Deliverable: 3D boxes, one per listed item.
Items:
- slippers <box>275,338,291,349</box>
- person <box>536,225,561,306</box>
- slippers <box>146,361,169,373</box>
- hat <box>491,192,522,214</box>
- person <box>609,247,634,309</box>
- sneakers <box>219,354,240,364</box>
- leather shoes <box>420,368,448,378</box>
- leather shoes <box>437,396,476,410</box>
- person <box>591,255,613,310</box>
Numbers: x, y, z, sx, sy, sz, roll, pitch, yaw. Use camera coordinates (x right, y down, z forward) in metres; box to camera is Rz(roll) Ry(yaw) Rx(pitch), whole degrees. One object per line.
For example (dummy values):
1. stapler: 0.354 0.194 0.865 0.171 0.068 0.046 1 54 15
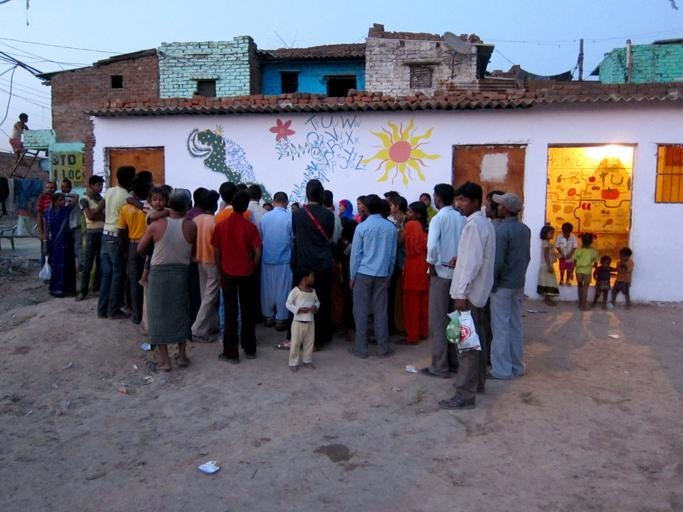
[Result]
1. slippers: -0.887 1.342 9.401 0.261 0.130 0.100 4 -7 20
2. person: 3.899 0.168 11.710 0.383 1.472 0.248 3 7 26
3. slippers: -2.551 1.530 8.570 0.358 0.154 0.140 3 5 31
4. hat: 2.179 -0.693 8.165 0.293 0.257 0.421 -2 7 -15
5. person: 5.239 0.387 11.571 0.368 1.085 0.375 3 7 26
6. sneakers: -1.582 1.451 8.749 0.279 0.130 0.117 10 1 13
7. leather shoes: 1.229 1.541 8.306 0.308 0.103 0.130 3 -7 22
8. leather shoes: 1.395 1.755 7.430 0.395 0.187 0.181 3 -1 3
9. person: 4.874 0.467 11.570 0.341 0.956 0.361 2 7 20
